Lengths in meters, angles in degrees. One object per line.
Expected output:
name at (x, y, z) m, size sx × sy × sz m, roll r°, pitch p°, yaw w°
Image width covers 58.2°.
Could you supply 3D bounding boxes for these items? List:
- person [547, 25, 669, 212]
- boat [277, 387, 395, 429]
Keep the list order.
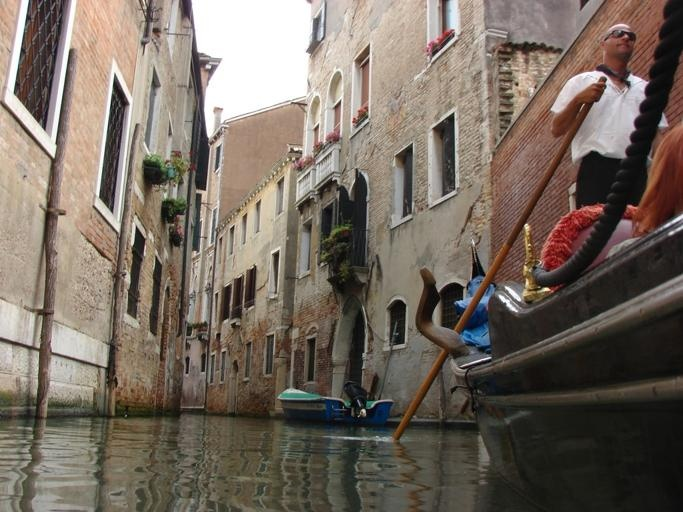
person at (1.399, -0.470, 3.204) m, size 0.549 × 1.532 × 0.379 m, roll 4°, pitch -6°, yaw 11°
boat at (-0.238, 3.281, 13.244) m, size 1.007 × 0.801 × 3.351 m, roll 15°, pitch -14°, yaw -30°
